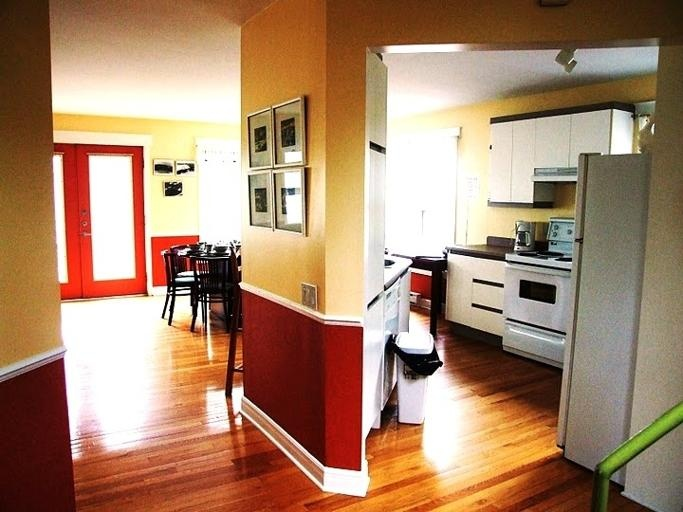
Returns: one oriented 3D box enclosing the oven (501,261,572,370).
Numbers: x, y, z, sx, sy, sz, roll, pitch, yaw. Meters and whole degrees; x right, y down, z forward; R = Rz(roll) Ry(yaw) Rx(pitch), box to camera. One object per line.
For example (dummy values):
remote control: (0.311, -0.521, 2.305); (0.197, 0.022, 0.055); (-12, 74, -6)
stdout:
oven: (2.060, 0.499, 5.434); (0.788, 1.090, 0.849); (3, 10, 9)

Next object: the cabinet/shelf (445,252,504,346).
cabinet/shelf: (1.492, 0.469, 5.840); (0.461, 0.902, 0.915); (0, 3, -30)

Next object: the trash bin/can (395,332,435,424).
trash bin/can: (0.576, 0.964, 4.240); (0.296, 0.613, 0.426); (2, 12, 6)

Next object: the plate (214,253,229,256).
plate: (-1.451, -0.015, 6.332); (0.179, 0.013, 0.148); (-5, 14, -21)

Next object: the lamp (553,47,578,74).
lamp: (1.657, -1.454, 3.899); (0.117, 0.162, 0.386); (6, 14, 27)

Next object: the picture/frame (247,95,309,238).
picture/frame: (-0.429, -0.639, 3.635); (0.037, 1.104, 0.948); (-5, 6, -41)

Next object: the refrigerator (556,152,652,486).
refrigerator: (1.746, 0.385, 3.542); (0.486, 2.104, 0.416); (7, 14, 30)

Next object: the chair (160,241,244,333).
chair: (-1.738, 0.378, 6.437); (1.069, 0.967, 0.671); (12, 17, 42)

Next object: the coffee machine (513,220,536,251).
coffee machine: (1.997, -0.219, 5.747); (0.211, 0.307, 0.330); (5, 13, 21)
